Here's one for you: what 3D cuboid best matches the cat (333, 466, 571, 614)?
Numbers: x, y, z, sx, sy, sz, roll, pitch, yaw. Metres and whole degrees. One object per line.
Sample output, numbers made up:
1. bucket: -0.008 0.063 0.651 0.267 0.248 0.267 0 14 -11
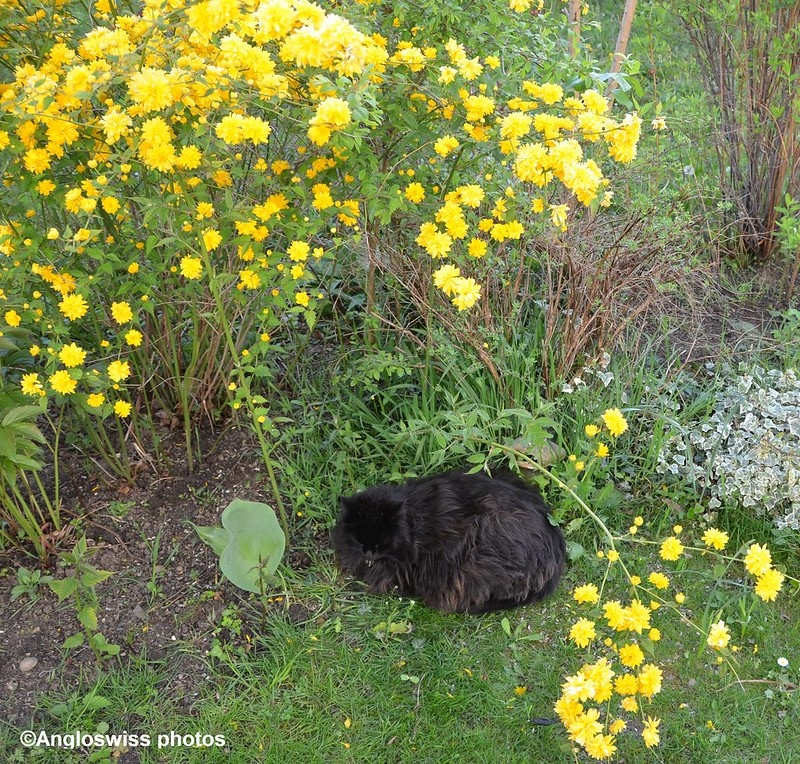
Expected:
1. cat: 0.193 0.582 2.443 0.758 0.298 0.518 -9 29 -12
